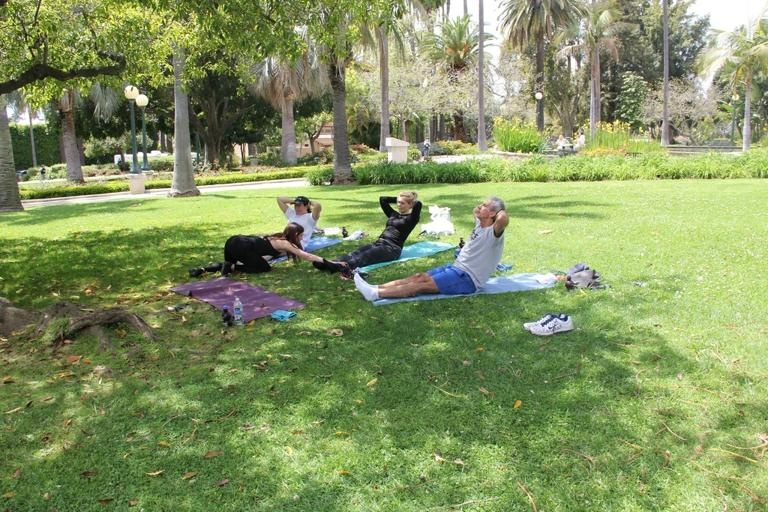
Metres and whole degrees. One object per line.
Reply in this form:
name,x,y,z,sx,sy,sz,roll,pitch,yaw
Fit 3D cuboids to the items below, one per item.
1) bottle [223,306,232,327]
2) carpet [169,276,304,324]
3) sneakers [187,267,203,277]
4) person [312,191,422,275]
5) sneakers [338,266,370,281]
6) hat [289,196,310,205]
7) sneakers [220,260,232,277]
bottle,-2.414,0.957,9.363,0.167,0.274,0.172,-3,12,1
carpet,-2.466,0.730,10.304,2.395,0.276,1.031,7,15,38
sneakers,-3.517,0.300,11.315,0.206,0.179,0.171,7,28,24
person,-0.046,-0.640,12.057,2.369,1.407,1.123,-15,26,-32
sneakers,-0.541,0.335,11.091,0.400,0.150,0.256,-1,4,33
hat,-1.726,-1.168,12.701,0.311,0.179,0.499,-6,12,-16
sneakers,-2.995,0.240,11.468,0.255,0.259,0.264,-2,12,2
